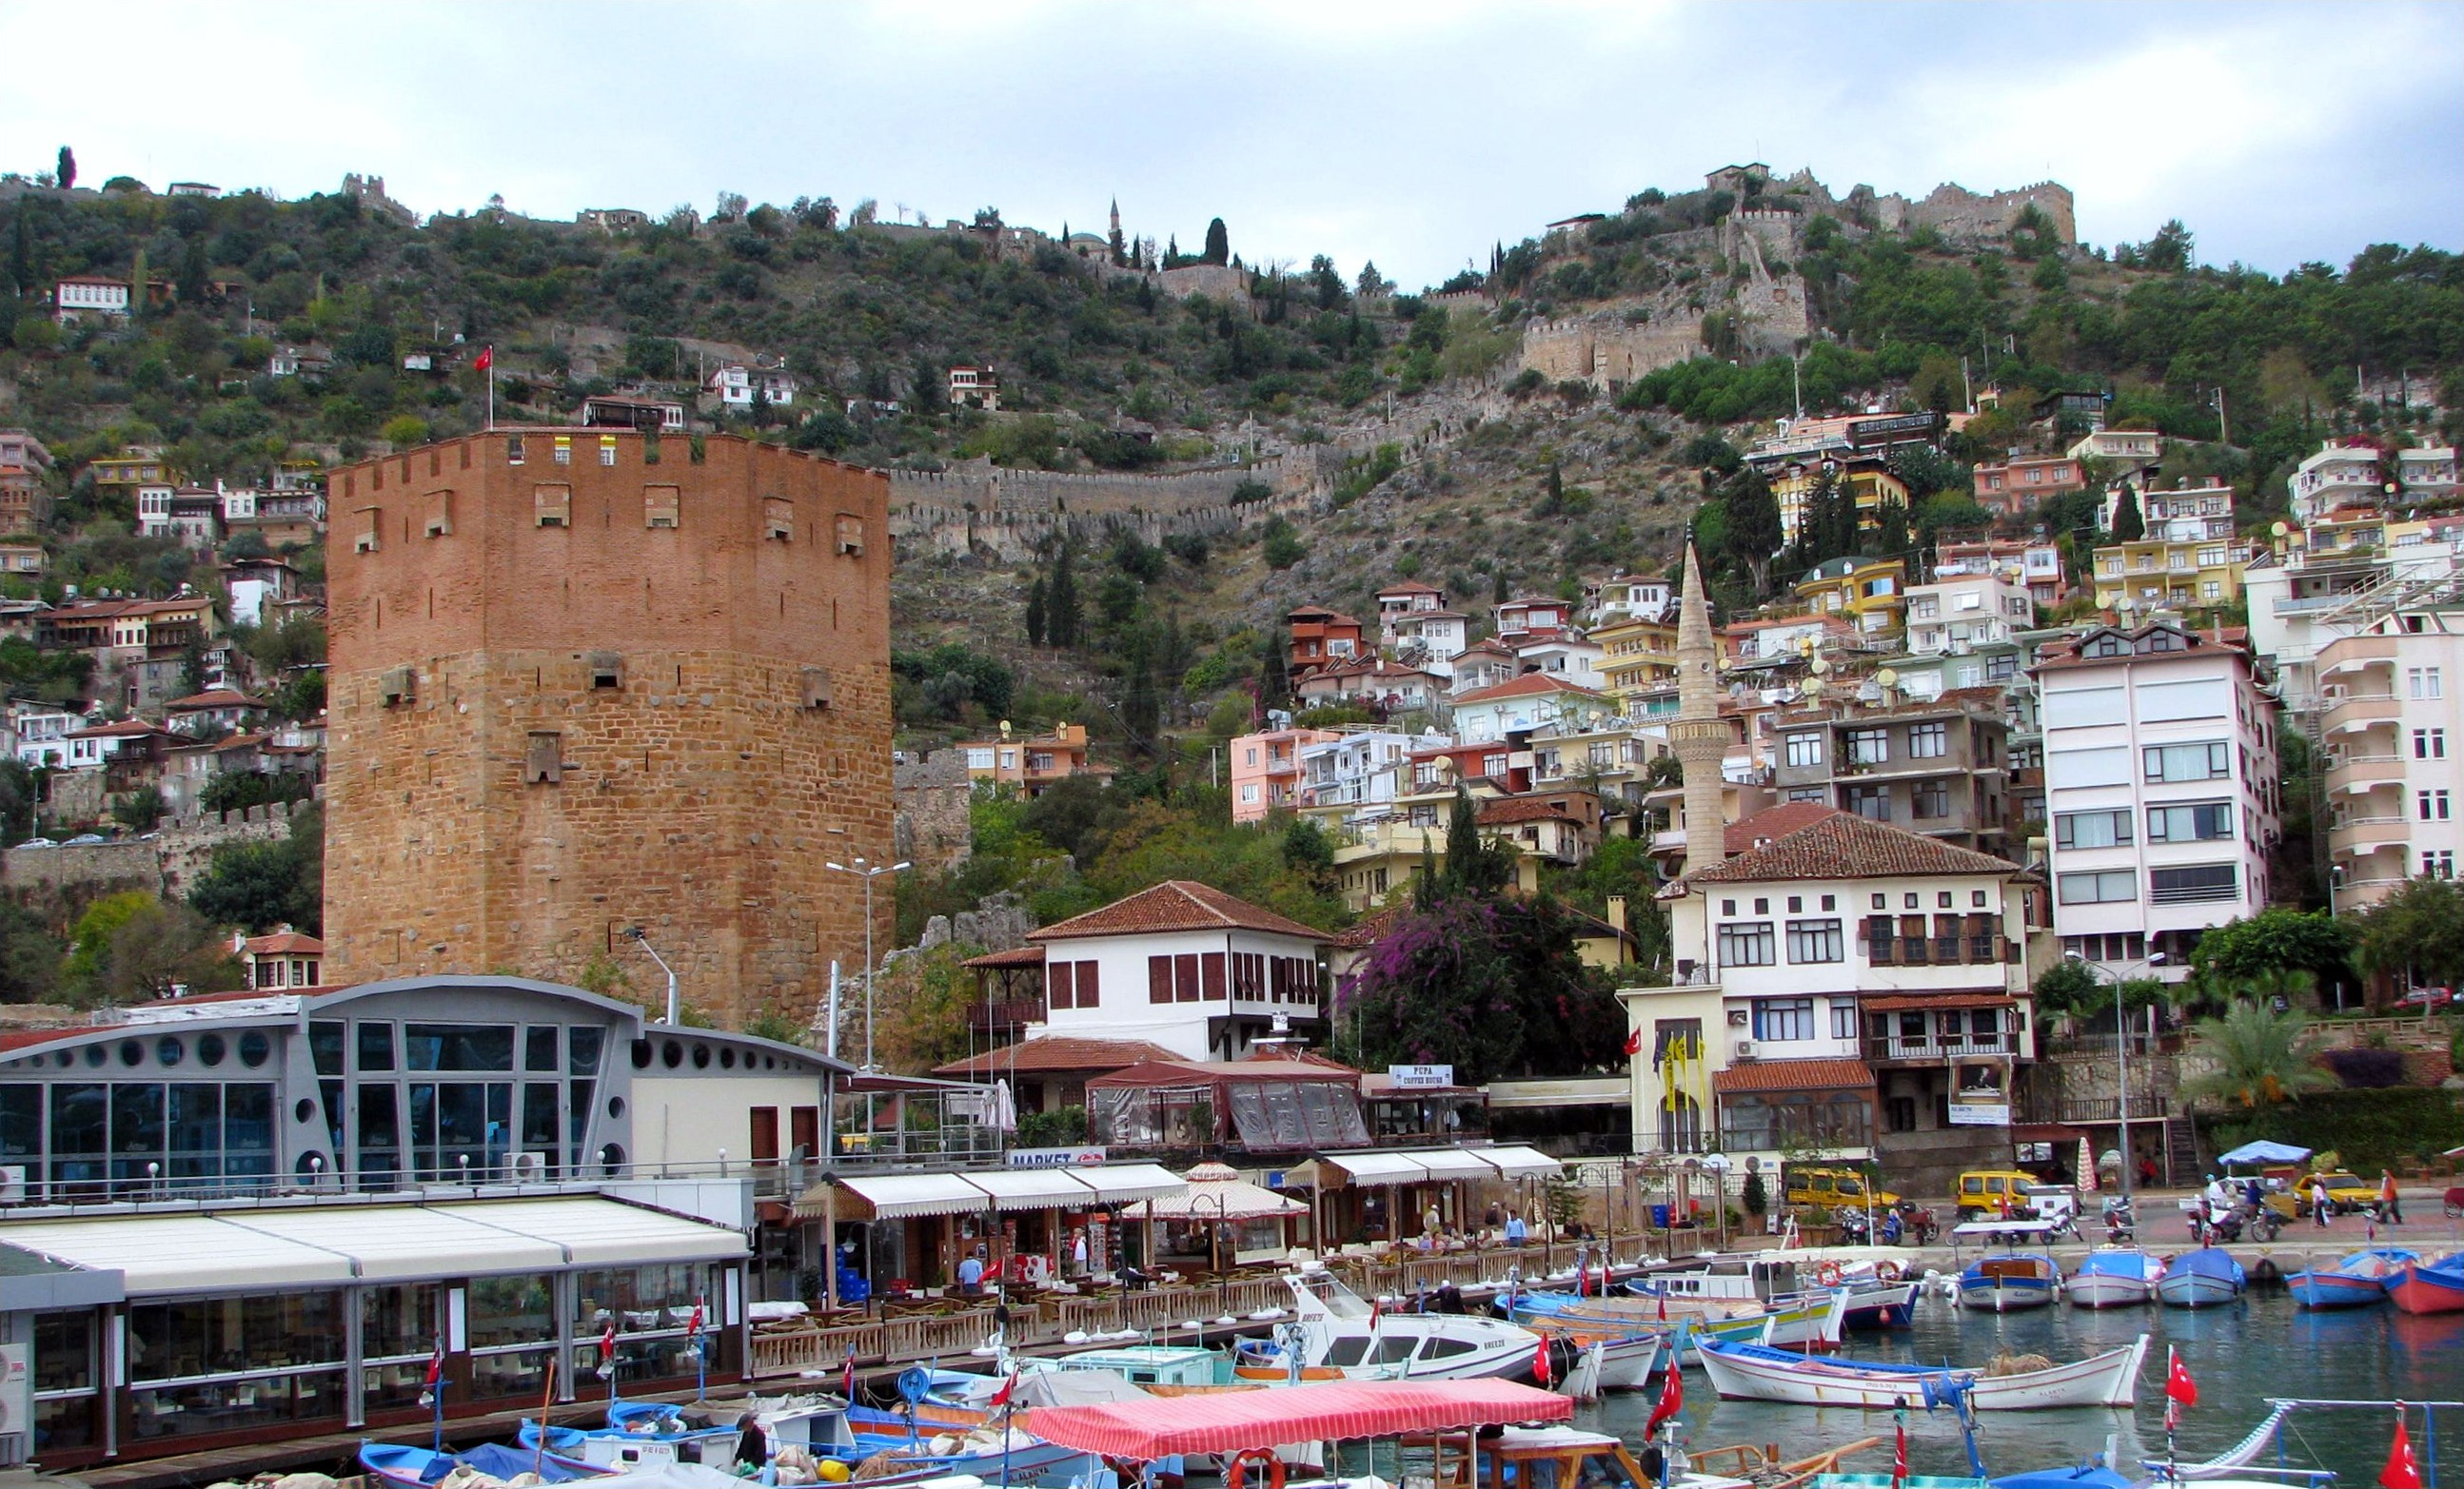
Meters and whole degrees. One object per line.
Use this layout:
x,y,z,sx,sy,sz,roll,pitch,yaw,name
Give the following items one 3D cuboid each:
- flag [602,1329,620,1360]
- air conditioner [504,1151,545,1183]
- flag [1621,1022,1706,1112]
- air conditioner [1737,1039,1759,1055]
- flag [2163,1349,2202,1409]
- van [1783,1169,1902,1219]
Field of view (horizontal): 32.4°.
-20.930,20.207,142.547,0.635,1.042,0.403,-1,-9,-24,flag
-24.260,14.692,145.457,1.704,1.250,0.858,2,-9,-18,air conditioner
17.980,13.312,173.115,3.052,3.872,2.086,-5,-8,3,flag
21.263,12.631,173.811,0.634,0.408,0.510,3,1,9,air conditioner
32.828,22.055,145.858,0.439,2.662,2.139,9,-12,-28,flag
24.125,18.103,169.201,3.819,1.536,1.959,-2,1,9,van
